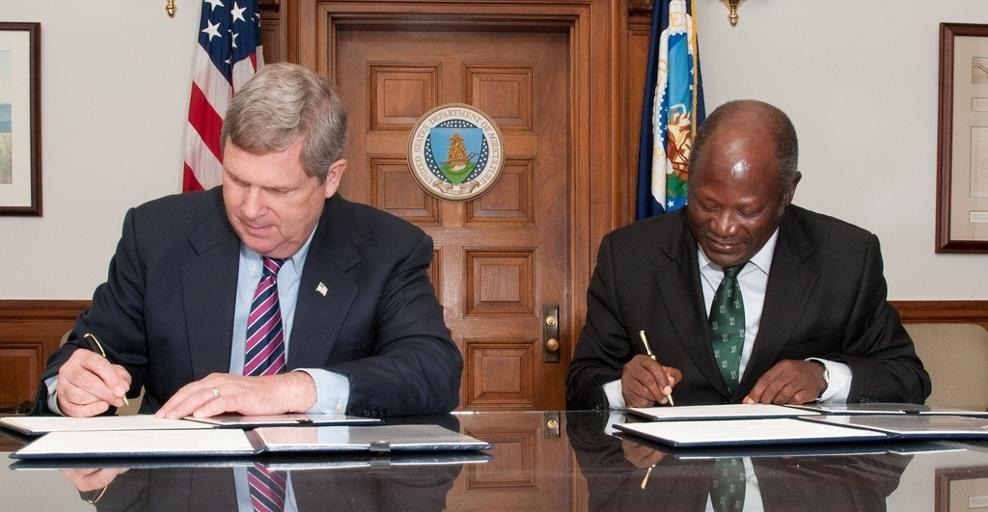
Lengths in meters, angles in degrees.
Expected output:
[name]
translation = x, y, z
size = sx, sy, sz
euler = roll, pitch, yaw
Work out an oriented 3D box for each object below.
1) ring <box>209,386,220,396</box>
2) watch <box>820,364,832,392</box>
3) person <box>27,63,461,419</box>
[ring]
translation = -1.036, 0.495, 2.871
size = 0.039, 0.028, 0.022
euler = -1, 4, -2
[watch]
translation = 1.377, 0.505, 3.245
size = 0.034, 0.111, 0.062
euler = 0, 4, 23
[person]
translation = -0.953, -0.072, 3.161
size = 1.585, 1.416, 0.732
euler = -1, 4, -3
